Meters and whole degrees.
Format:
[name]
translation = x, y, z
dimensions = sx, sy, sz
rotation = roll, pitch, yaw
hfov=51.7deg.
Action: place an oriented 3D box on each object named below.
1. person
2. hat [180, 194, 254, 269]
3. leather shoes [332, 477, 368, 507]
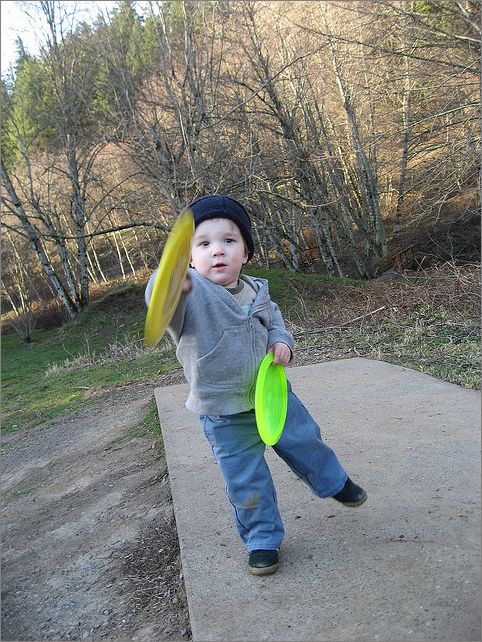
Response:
[person]
translation = -0.009, 0.182, 1.844
dimensions = 0.736, 1.245, 0.414
rotation = -22, 7, -41
[hat]
translation = -0.077, -0.368, 1.959
dimensions = 0.187, 0.228, 0.173
rotation = -17, 35, 1
[leather shoes]
translation = 0.401, 0.667, 1.955
dimensions = 0.067, 0.076, 0.170
rotation = -32, 7, -33
